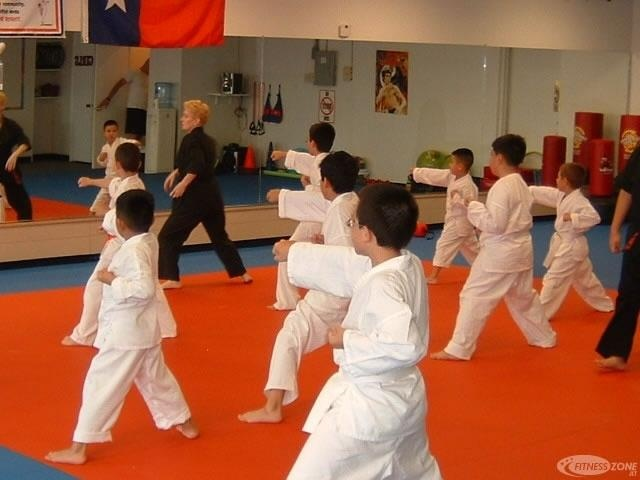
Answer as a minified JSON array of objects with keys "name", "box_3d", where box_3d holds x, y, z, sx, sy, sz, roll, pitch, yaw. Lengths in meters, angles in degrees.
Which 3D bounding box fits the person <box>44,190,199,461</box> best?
[{"name":"person","box_3d":[-1.154,0.390,3.166,0.725,1.390,1.085,-3,12,-23]}]

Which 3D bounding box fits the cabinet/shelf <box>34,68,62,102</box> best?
[{"name":"cabinet/shelf","box_3d":[-3.017,-1.718,6.158,0.375,0.396,0.272,-1,1,-21]}]

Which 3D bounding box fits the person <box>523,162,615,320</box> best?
[{"name":"person","box_3d":[2.518,0.025,5.377,0.983,1.486,0.787,-1,12,0]}]
